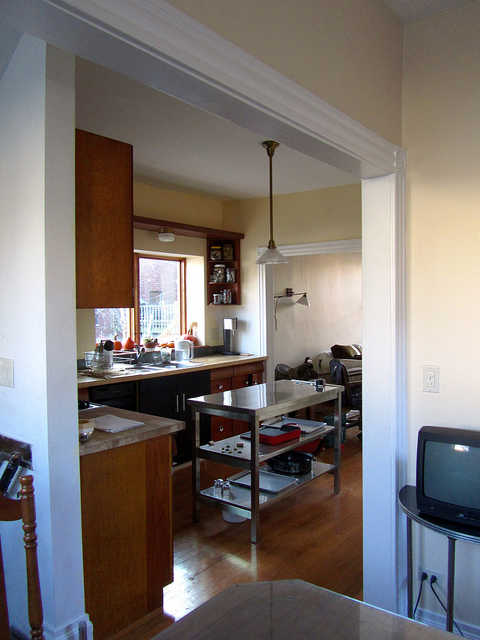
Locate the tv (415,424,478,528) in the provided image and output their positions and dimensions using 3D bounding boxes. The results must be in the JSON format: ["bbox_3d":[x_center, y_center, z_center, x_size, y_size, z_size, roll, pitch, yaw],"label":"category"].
[{"bbox_3d":[0.758,0.565,1.801,0.224,0.289,0.111,0,0,41],"label":"tv"}]

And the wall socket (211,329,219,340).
[{"bbox_3d":[-0.289,0.153,5.476,0.013,0.127,0.125,1,0,28],"label":"wall socket"}]

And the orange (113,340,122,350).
[{"bbox_3d":[-1.136,0.228,4.568,0.071,0.079,0.070,-16,9,-34],"label":"orange"}]

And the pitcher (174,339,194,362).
[{"bbox_3d":[-0.564,0.302,5.026,0.234,0.232,0.152,0,1,-12],"label":"pitcher"}]

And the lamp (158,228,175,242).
[{"bbox_3d":[-0.691,-0.797,4.624,0.121,0.089,0.123,7,9,42],"label":"lamp"}]

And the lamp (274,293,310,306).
[{"bbox_3d":[0.700,-0.287,6.891,0.427,0.186,0.183,-1,3,-1],"label":"lamp"}]

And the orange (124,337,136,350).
[{"bbox_3d":[-1.017,0.218,4.558,0.091,0.126,0.089,-7,8,-42],"label":"orange"}]
